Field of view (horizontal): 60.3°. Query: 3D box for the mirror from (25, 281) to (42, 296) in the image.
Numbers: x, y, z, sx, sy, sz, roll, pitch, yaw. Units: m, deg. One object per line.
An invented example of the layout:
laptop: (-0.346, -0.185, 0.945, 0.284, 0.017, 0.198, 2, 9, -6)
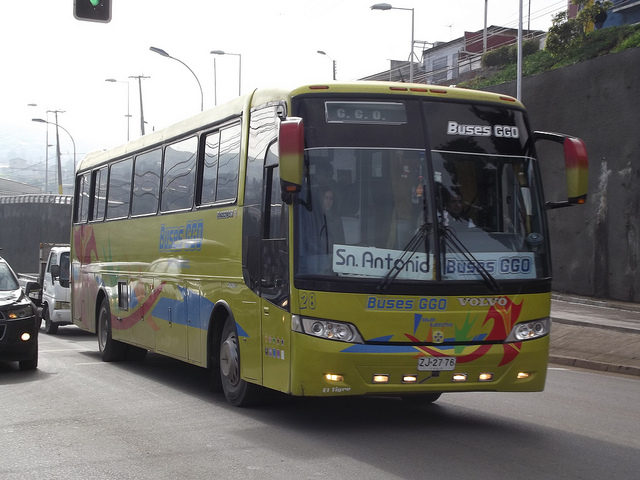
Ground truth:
mirror: (-6.043, 0.990, 11.651, 0.321, 0.365, 0.349, 3, 0, -8)

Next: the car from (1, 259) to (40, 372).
car: (-5.901, 1.778, 10.927, 0.683, 1.835, 1.365, 0, 1, -28)

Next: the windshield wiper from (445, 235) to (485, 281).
windshield wiper: (1.551, 0.208, 6.011, 0.021, 0.547, 0.083, -34, -1, -1)
